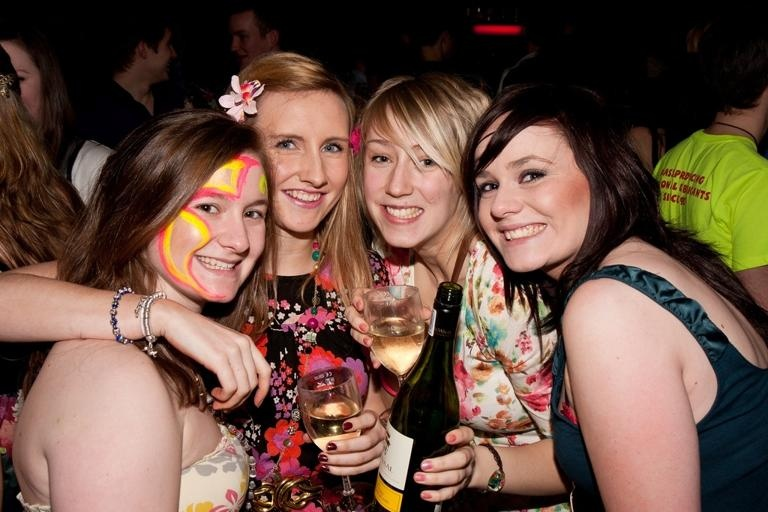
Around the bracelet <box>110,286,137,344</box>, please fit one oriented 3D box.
[{"bbox_3d":[-1.071,0.238,2.429,0.035,0.148,0.180,1,76,-11],"label":"bracelet"}]

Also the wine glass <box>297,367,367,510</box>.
[{"bbox_3d":[-0.221,0.625,2.499,0.245,0.306,0.233,-6,33,-8],"label":"wine glass"}]

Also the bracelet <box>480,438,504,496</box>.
[{"bbox_3d":[0.503,0.957,2.671,0.051,0.136,0.181,6,71,-27],"label":"bracelet"}]

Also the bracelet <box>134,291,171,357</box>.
[{"bbox_3d":[-0.942,0.276,2.427,0.064,0.211,0.164,0,3,-14],"label":"bracelet"}]

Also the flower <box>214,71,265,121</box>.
[{"bbox_3d":[-0.701,-0.831,3.083,0.233,0.095,0.229,-10,19,19],"label":"flower"}]
